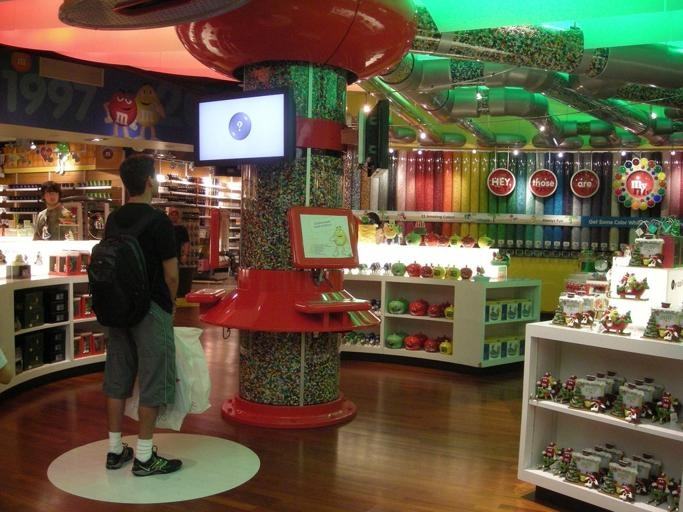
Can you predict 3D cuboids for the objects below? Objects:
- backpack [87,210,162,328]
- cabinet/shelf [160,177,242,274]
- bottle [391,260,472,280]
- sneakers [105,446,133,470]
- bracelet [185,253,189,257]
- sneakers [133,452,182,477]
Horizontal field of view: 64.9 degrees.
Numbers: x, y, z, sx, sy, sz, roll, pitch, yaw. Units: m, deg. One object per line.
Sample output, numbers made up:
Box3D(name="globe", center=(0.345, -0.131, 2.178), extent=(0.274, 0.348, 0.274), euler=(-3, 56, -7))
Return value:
Box3D(name="backpack", center=(-1.389, 0.081, 3.395), extent=(0.413, 0.765, 0.261), euler=(0, 3, -19))
Box3D(name="cabinet/shelf", center=(-2.964, -0.719, 11.218), extent=(0.477, 1.911, 2.689), euler=(2, 3, 25))
Box3D(name="bottle", center=(1.086, 0.173, 6.516), extent=(0.977, 0.161, 0.315), euler=(3, 4, 16))
Box3D(name="sneakers", center=(-1.484, 1.354, 3.571), extent=(0.077, 0.092, 0.204), euler=(0, 5, 11))
Box3D(name="bracelet", center=(-2.781, -0.027, 9.606), extent=(0.068, 0.044, 0.069), euler=(1, 2, 16))
Box3D(name="sneakers", center=(-1.209, 1.371, 3.568), extent=(0.355, 0.162, 0.127), euler=(-1, -2, -28))
